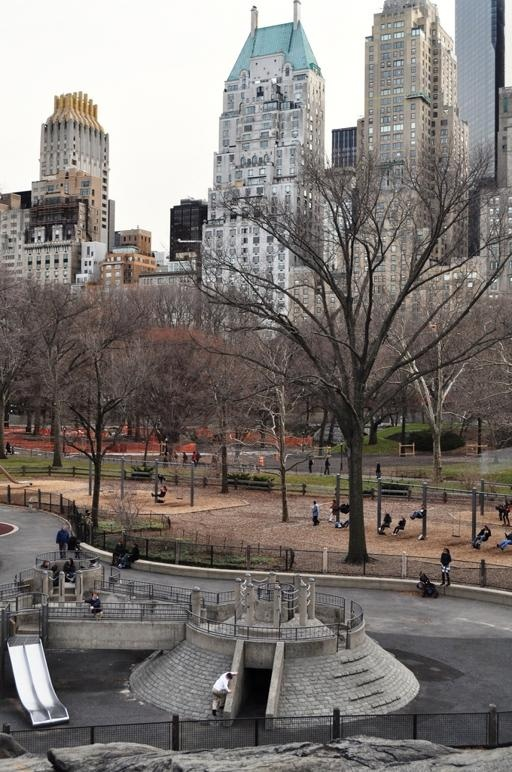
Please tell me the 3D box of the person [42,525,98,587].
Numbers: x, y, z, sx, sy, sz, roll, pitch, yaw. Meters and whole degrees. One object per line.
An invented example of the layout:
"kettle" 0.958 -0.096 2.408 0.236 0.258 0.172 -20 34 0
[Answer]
"person" -5.653 5.311 39.754 0.828 1.911 1.186 -2 2 26

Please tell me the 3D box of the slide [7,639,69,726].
"slide" -5.223 7.046 30.843 0.956 0.928 4.034 1 4 -20
